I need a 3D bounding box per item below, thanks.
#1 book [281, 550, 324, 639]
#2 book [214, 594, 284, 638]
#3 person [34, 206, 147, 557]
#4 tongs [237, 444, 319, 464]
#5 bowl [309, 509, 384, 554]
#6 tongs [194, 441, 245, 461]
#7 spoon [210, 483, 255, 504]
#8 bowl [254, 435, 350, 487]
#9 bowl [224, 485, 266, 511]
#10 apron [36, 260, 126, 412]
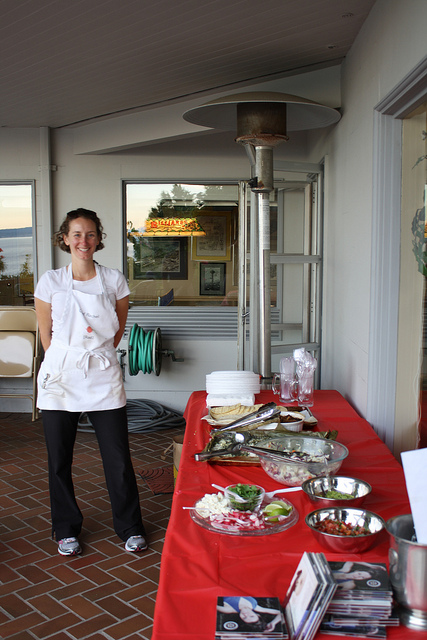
[{"bbox_3d":[0.142,0.446,0.773,0.024,0.095,0.097,16,-4,1],"label":"book"},{"bbox_3d":[0.057,0.473,0.770,0.105,0.022,0.118,0,2,2],"label":"book"},{"bbox_3d":[-0.655,0.339,2.546,0.538,1.812,0.259,-1,2,-19],"label":"person"},{"bbox_3d":[0.231,0.449,1.626,0.333,0.025,0.072,10,-13,5],"label":"tongs"},{"bbox_3d":[0.297,0.485,1.079,0.166,0.082,0.116,0,2,18],"label":"bowl"},{"bbox_3d":[0.020,0.457,1.682,0.187,0.047,0.079,-1,2,-19],"label":"tongs"},{"bbox_3d":[0.044,0.502,1.397,0.038,0.028,0.164,-2,6,-39],"label":"spoon"},{"bbox_3d":[0.312,0.477,1.597,0.311,0.108,0.311,0,1,0],"label":"bowl"},{"bbox_3d":[0.094,0.498,1.361,0.075,0.034,0.073,-1,-2,0],"label":"bowl"},{"bbox_3d":[-0.694,0.072,2.541,0.482,0.769,0.346,-2,3,-32],"label":"apron"}]
